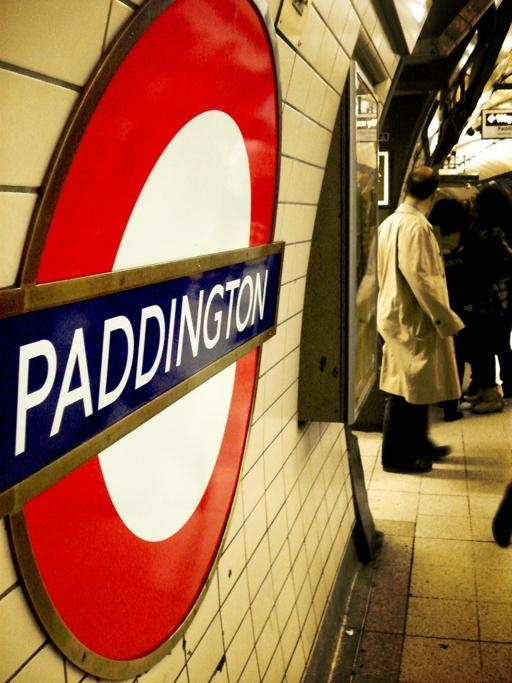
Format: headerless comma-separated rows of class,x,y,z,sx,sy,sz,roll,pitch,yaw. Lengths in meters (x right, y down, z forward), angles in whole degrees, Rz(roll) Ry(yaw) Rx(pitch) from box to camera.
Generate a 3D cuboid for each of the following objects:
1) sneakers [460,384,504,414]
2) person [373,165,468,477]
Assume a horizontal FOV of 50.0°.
sneakers,2.304,0.612,5.822,0.183,0.361,0.577,0,3,-37
person,1.203,-0.069,4.113,0.587,2.362,0.888,-1,6,17
